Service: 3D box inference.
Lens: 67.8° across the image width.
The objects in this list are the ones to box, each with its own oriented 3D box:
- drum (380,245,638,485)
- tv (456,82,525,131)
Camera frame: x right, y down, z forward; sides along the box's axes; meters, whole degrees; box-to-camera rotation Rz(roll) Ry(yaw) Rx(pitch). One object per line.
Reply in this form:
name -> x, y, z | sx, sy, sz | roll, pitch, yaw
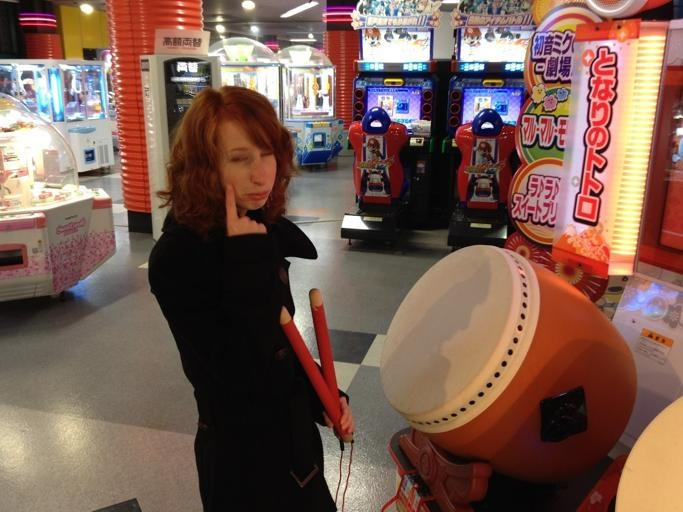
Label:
drum -> 0.523, 0.368, 1.756 | 0.874, 0.733, 0.522 | 12, 22, 30
tv -> 1.818, -1.830, 6.200 | 0.723, 0.459, 0.223 | 5, 20, 15
